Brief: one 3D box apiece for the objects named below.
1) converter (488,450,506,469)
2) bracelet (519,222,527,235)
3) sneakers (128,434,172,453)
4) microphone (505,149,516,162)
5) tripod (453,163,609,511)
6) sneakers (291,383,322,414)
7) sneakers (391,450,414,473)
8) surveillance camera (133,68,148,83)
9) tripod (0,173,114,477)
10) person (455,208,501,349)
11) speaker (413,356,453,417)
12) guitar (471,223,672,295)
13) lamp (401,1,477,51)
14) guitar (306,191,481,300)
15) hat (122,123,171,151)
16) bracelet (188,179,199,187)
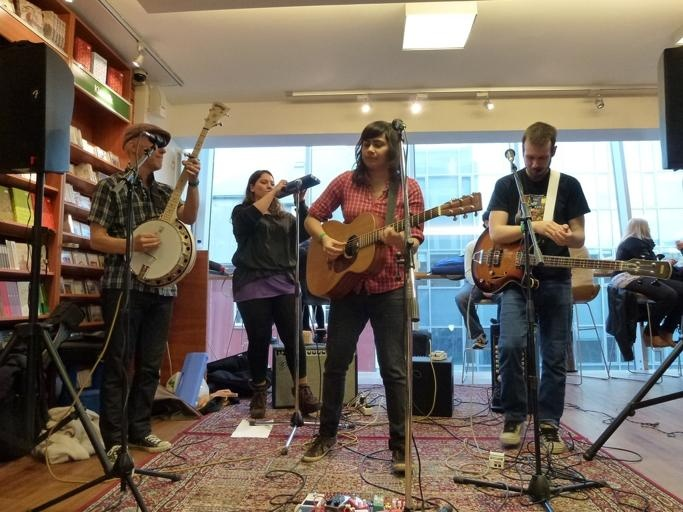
[{"bbox_3d":[0.923,1.210,3.260,0.086,0.089,0.082,-2,-11,18],"label":"converter"},{"bbox_3d":[1.035,-0.154,3.130,0.060,0.087,0.025,6,-4,-36],"label":"bracelet"},{"bbox_3d":[-1.209,1.191,3.500,0.241,0.102,0.103,5,1,-2],"label":"sneakers"},{"bbox_3d":[0.966,-0.569,3.138,0.054,0.079,0.021,-2,-5,11],"label":"microphone"},{"bbox_3d":[1.103,0.356,3.268,0.774,1.958,0.863,-3,-5,25],"label":"tripod"},{"bbox_3d":[-0.259,1.088,4.147,0.122,0.162,0.363,0,-13,-24],"label":"sneakers"},{"bbox_3d":[0.327,1.187,3.162,0.069,0.119,0.129,-1,-4,-4],"label":"sneakers"},{"bbox_3d":[-2.044,-1.817,5.589,0.119,0.089,0.122,-2,-2,-14],"label":"surveillance camera"},{"bbox_3d":[-1.507,0.343,2.974,0.615,1.620,0.467,0,-4,-11],"label":"tripod"},{"bbox_3d":[1.355,0.244,5.760,0.185,1.401,0.637,1,5,-43],"label":"person"},{"bbox_3d":[0.704,1.039,4.396,0.371,0.405,0.401,-1,-1,10],"label":"speaker"},{"bbox_3d":[1.402,0.099,3.541,1.224,0.550,0.166,6,-4,35],"label":"guitar"},{"bbox_3d":[0.885,-2.090,5.031,0.637,0.164,0.595,-2,-5,6],"label":"lamp"},{"bbox_3d":[0.309,-0.029,3.324,0.150,0.519,1.096,11,-24,-43],"label":"guitar"},{"bbox_3d":[-1.246,-0.757,3.506,0.279,0.100,0.204,-10,-6,-1],"label":"hat"},{"bbox_3d":[-0.979,-0.476,3.641,0.059,0.033,0.068,-1,-14,-7],"label":"bracelet"}]
